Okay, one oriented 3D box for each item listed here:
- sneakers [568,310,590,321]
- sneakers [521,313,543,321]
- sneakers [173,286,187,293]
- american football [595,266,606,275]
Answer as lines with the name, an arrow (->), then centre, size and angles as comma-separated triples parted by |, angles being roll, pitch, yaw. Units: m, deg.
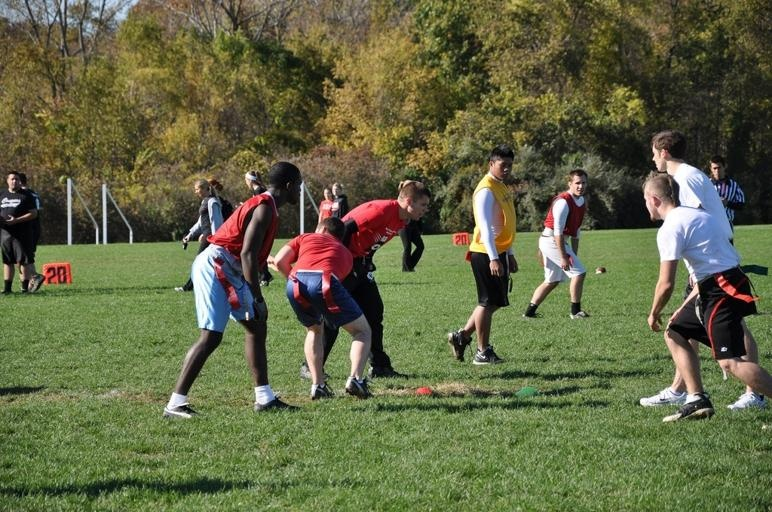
sneakers -> 5.051, 1.589, 27.014 | 0.496, 0.211, 0.198 | -4, 24, -4
sneakers -> 3.854, 1.624, 27.205 | 0.542, 0.237, 0.187 | -2, 3, 7
sneakers -> -6.147, 1.051, 30.871 | 0.125, 0.157, 0.311 | -11, 0, 15
american football -> 6.764, 0.490, 32.593 | 0.242, 0.158, 0.284 | -2, 0, 2
